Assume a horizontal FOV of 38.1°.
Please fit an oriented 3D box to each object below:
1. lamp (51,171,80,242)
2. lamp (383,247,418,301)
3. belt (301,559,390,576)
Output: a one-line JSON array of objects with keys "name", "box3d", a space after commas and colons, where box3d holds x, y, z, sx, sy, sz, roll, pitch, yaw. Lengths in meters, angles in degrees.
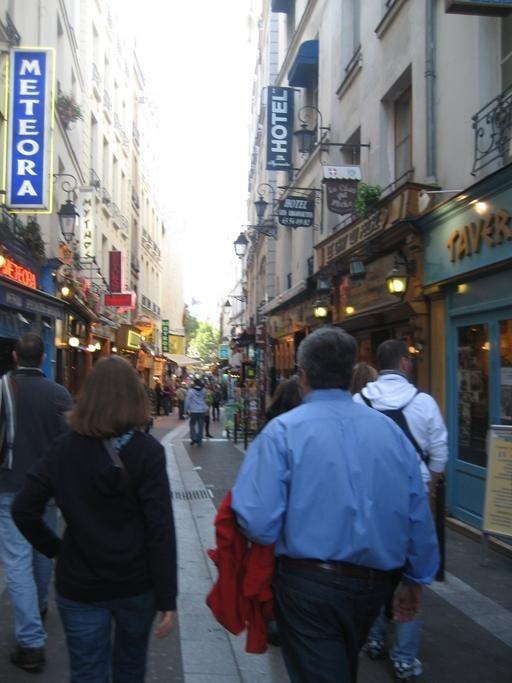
[{"name": "lamp", "box3d": [-4.001, -2.905, 15.842, 0.453, 1.482, 0.560, 2, 0, -31]}, {"name": "lamp", "box3d": [1.762, -0.774, 8.919, 0.308, 0.649, 0.253, -3, -21, 12]}, {"name": "belt", "box3d": [0.261, 0.740, 2.418, 0.252, 0.064, 0.036, 0, -3, -8]}]
